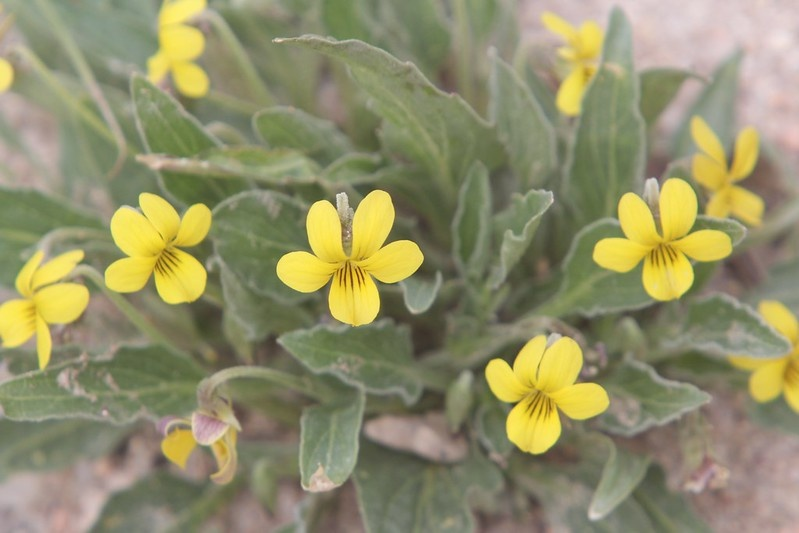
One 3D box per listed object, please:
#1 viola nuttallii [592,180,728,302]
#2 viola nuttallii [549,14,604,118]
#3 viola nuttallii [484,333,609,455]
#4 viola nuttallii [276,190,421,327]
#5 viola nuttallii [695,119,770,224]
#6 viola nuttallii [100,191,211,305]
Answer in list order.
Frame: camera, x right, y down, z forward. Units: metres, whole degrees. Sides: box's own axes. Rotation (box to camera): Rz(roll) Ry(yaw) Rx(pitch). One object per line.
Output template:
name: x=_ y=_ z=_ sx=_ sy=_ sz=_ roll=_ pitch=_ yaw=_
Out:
viola nuttallii: x=0.378 y=-0.036 z=1.061 sx=0.165 sy=0.061 sz=0.154 roll=40 pitch=82 yaw=7
viola nuttallii: x=0.286 y=-0.316 z=1.214 sx=0.040 sy=0.148 sz=0.124 roll=47 pitch=105 yaw=6
viola nuttallii: x=0.207 y=0.178 z=1.080 sx=0.146 sy=0.090 sz=0.148 roll=-33 pitch=81 yaw=-5
viola nuttallii: x=-0.068 y=-0.017 z=1.043 sx=0.160 sy=0.075 sz=0.185 roll=41 pitch=82 yaw=7
viola nuttallii: x=0.595 y=-0.168 z=1.355 sx=0.052 sy=0.207 sz=0.178 roll=23 pitch=102 yaw=-12
viola nuttallii: x=-0.343 y=-0.021 z=1.101 sx=0.133 sy=0.132 sz=0.147 roll=9 pitch=79 yaw=2
